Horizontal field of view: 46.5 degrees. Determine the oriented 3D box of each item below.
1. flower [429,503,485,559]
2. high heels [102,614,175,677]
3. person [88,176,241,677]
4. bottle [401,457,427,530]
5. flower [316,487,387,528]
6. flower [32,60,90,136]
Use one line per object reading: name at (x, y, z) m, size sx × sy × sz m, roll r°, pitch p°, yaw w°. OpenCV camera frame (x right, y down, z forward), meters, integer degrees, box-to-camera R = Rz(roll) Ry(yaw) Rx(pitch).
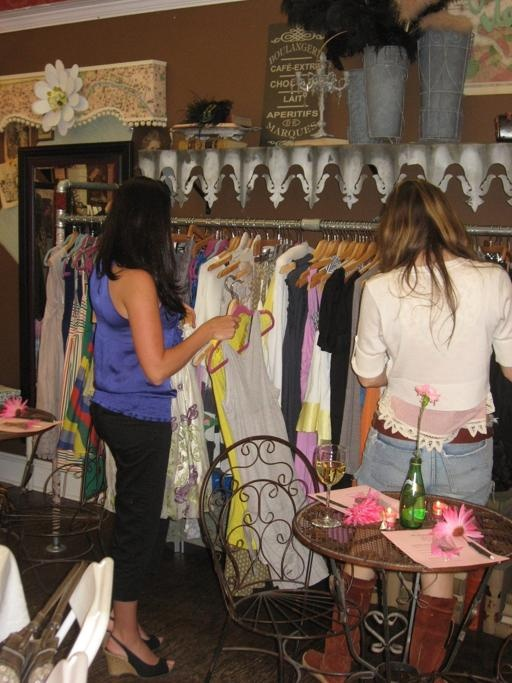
flower at (0.432, 0.410, 1.304) m, size 0.095 × 0.091 × 0.179 m, roll 8°, pitch 14°, yaw 35°
high heels at (-0.411, 1.057, 2.062) m, size 0.260 × 0.087 × 0.179 m, roll 5°, pitch 3°, yaw -20°
person at (-0.344, 0.348, 1.942) m, size 0.379 × 1.719 × 0.352 m, roll 4°, pitch 13°, yaw 22°
bottle at (0.373, 0.355, 1.426) m, size 0.054 × 0.159 × 0.091 m, roll 1°, pitch 12°, yaw 7°
flower at (0.259, 0.414, 1.527) m, size 0.076 × 0.030 × 0.107 m, roll -6°, pitch 10°, yaw -20°
flower at (-1.227, -1.498, 3.680) m, size 0.457 × 0.413 × 0.179 m, roll 9°, pitch 15°, yaw 37°
